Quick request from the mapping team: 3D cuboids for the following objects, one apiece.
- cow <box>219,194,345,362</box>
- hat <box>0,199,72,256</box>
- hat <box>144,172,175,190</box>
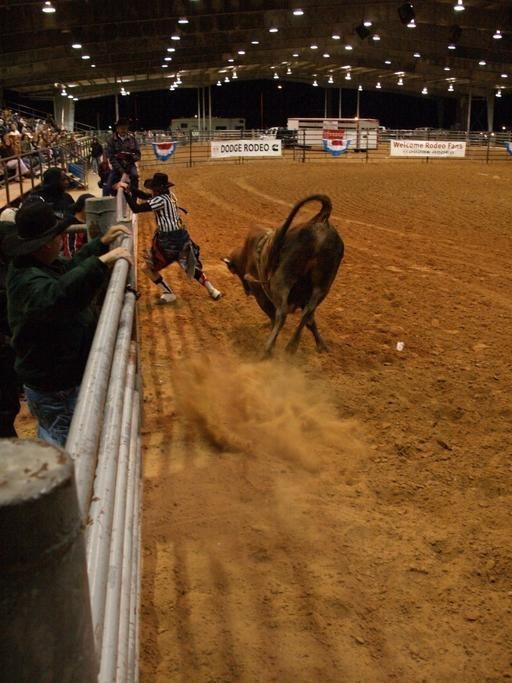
[{"bbox_3d":[0.320,-0.829,6.051,0.806,1.872,1.530,-5,14,-26],"label":"cow"},{"bbox_3d":[-1.173,-0.599,2.521,0.296,0.287,0.372,-6,14,-30],"label":"hat"},{"bbox_3d":[-1.538,-2.437,7.469,0.622,0.273,0.717,0,17,-11],"label":"hat"}]
